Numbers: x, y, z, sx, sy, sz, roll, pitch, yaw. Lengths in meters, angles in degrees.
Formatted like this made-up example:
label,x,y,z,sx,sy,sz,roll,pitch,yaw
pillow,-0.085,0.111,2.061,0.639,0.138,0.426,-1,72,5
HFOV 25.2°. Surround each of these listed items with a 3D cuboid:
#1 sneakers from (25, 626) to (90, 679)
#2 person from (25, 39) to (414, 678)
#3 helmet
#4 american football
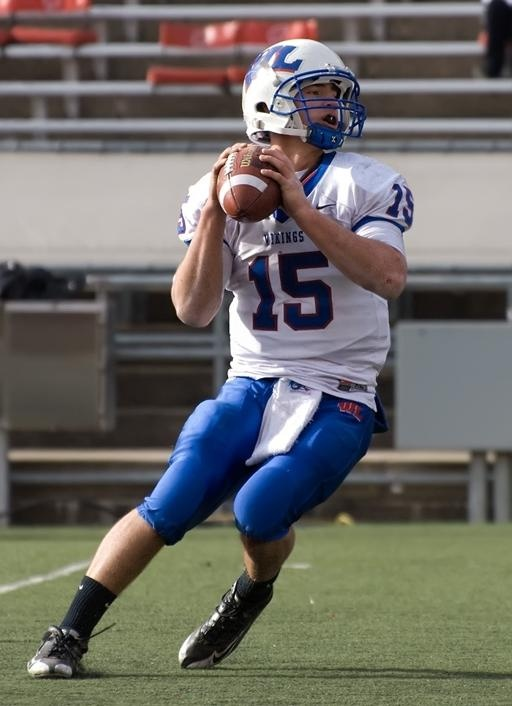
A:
label,x,y,z,sx,sy,sz,roll,pitch,yaw
sneakers,-0.384,0.607,2.290,0.068,0.062,0.169,29,-5,-8
person,-0.024,-0.013,2.450,0.690,1.400,0.422,2,-3,3
helmet,0.106,-0.597,2.592,0.311,0.200,0.227,8,15,37
american football,-0.006,-0.349,2.383,0.128,0.098,0.175,-15,-32,13
